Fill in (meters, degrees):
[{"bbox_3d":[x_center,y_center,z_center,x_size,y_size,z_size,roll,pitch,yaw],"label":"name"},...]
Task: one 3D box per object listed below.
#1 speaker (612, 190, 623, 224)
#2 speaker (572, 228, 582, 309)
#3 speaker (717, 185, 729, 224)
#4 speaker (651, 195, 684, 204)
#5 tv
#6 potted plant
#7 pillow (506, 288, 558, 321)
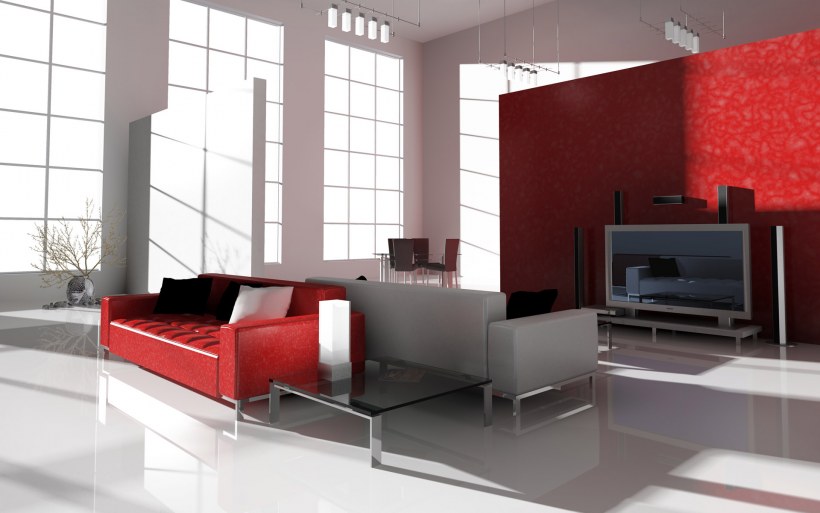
[{"bbox_3d":[3.223,-0.758,8.858,0.164,0.510,0.346,1,3,19],"label":"speaker"},{"bbox_3d":[2.704,0.194,9.151,0.151,1.341,0.148,-5,9,-6],"label":"speaker"},{"bbox_3d":[4.300,-0.715,7.865,0.135,0.513,0.311,2,3,29],"label":"speaker"},{"bbox_3d":[3.701,-0.813,8.169,0.389,0.114,0.352,2,3,25],"label":"speaker"},{"bbox_3d":[3.803,0.219,8.215,0.224,1.389,2.059,-5,4,-42],"label":"tv"},{"bbox_3d":[-6.072,-0.078,10.778,1.840,1.964,1.611,7,-10,-44],"label":"potted plant"},{"bbox_3d":[1.267,0.505,6.265,0.432,0.346,0.107,2,3,-9],"label":"pillow"}]
